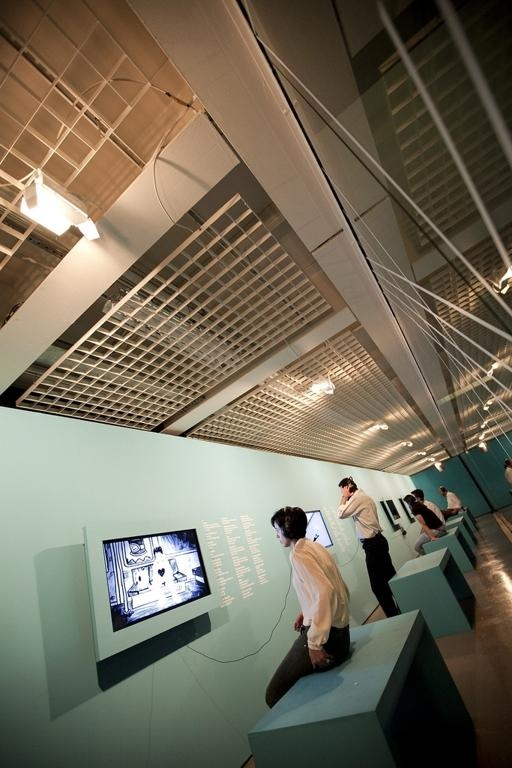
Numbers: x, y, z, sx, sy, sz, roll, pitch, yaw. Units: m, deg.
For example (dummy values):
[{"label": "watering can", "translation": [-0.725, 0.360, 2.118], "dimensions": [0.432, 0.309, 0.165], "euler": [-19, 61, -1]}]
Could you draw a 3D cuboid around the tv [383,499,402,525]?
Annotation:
[{"label": "tv", "translation": [3.046, 2.923, 10.521], "dimensions": [0.067, 0.613, 0.865], "euler": [-24, -15, 23]}]

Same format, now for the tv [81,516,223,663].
[{"label": "tv", "translation": [-0.628, 1.205, 2.912], "dimensions": [0.083, 0.637, 0.902], "euler": [-28, -23, 30]}]
